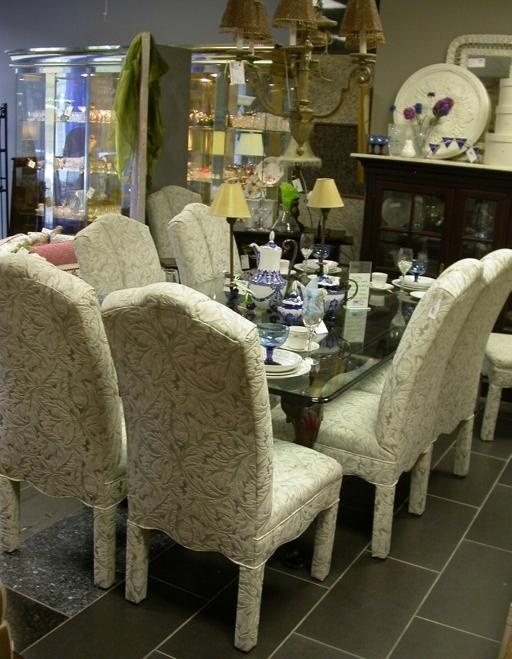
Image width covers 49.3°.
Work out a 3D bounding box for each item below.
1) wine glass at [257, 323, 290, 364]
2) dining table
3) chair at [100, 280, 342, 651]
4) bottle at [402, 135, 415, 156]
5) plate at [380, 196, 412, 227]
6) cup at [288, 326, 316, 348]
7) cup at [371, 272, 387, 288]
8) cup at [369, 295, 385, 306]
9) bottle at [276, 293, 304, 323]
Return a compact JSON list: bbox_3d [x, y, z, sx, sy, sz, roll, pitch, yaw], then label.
[{"bbox_3d":[0.052,0.042,1.724,0.122,0.125,0.117,3,8,7],"label":"wine glass"},{"bbox_3d":[0.165,0.292,1.668,0.580,0.456,0.990,13,27,23],"label":"dining table"},{"bbox_3d":[-0.101,0.333,1.459,0.458,0.951,0.608,11,14,29],"label":"chair"},{"bbox_3d":[1.011,-1.212,3.684,0.126,0.125,0.118,-3,10,-7],"label":"bottle"},{"bbox_3d":[0.960,-0.808,3.809,0.198,0.204,0.078,7,9,30],"label":"plate"},{"bbox_3d":[0.161,0.027,1.917,0.078,0.058,0.091,2,3,15],"label":"cup"},{"bbox_3d":[0.651,-0.263,2.974,0.082,0.068,0.084,1,19,0],"label":"cup"},{"bbox_3d":[0.594,-0.140,2.726,0.077,0.043,0.074,4,16,-1],"label":"cup"},{"bbox_3d":[0.131,-0.080,2.061,0.099,0.110,0.096,7,13,30],"label":"bottle"}]
